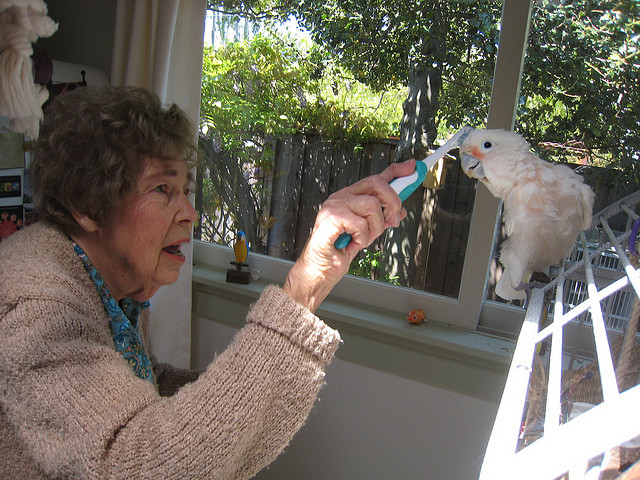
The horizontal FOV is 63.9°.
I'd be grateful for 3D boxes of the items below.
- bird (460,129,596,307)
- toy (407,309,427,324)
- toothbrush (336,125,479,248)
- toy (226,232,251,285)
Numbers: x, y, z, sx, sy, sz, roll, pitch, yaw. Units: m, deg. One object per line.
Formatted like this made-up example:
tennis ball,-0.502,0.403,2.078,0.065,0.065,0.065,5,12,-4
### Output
bird,0.510,-0.051,1.331,0.330,0.436,0.143,14,14,29
toy,0.325,0.259,1.742,0.056,0.045,0.034,-23,-2,-15
toothbrush,0.283,-0.153,1.507,0.517,0.072,0.076,-47,26,-13
toy,-0.307,0.067,2.011,0.089,0.203,0.082,6,4,13
